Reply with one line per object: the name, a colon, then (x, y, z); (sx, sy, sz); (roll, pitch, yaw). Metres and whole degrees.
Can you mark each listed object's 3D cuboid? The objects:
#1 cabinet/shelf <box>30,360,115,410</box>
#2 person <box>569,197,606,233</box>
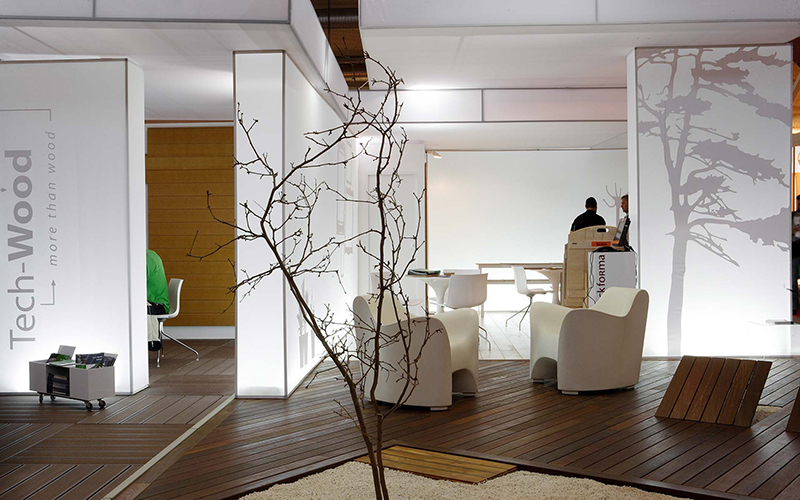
cabinet/shelf: (-3.632, 1.458, 6.086); (0.923, 0.413, 0.337); (1, 0, 22)
person: (3.587, -0.690, 10.699); (0.981, 0.768, 0.490); (1, 8, 12)
